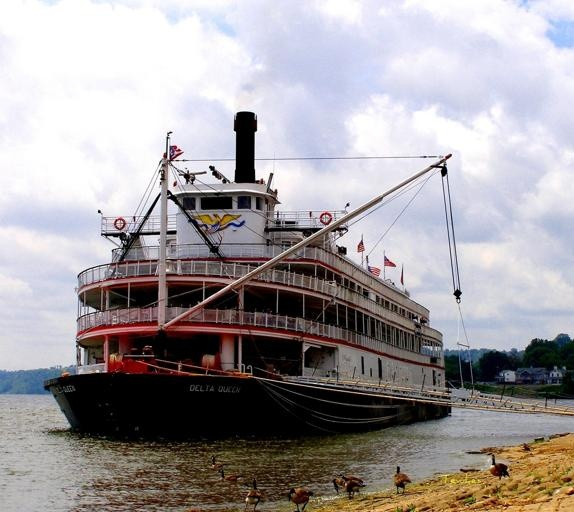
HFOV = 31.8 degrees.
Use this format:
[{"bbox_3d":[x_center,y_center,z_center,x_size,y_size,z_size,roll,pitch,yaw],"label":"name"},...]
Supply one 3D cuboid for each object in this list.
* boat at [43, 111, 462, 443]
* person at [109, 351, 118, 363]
[{"bbox_3d":[-1.065,2.517,52.830,15.033,9.087,24.461,-3,-11,19],"label":"boat"},{"bbox_3d":[-7.888,4.649,45.751,0.289,0.487,1.263,5,-12,-12],"label":"person"}]
